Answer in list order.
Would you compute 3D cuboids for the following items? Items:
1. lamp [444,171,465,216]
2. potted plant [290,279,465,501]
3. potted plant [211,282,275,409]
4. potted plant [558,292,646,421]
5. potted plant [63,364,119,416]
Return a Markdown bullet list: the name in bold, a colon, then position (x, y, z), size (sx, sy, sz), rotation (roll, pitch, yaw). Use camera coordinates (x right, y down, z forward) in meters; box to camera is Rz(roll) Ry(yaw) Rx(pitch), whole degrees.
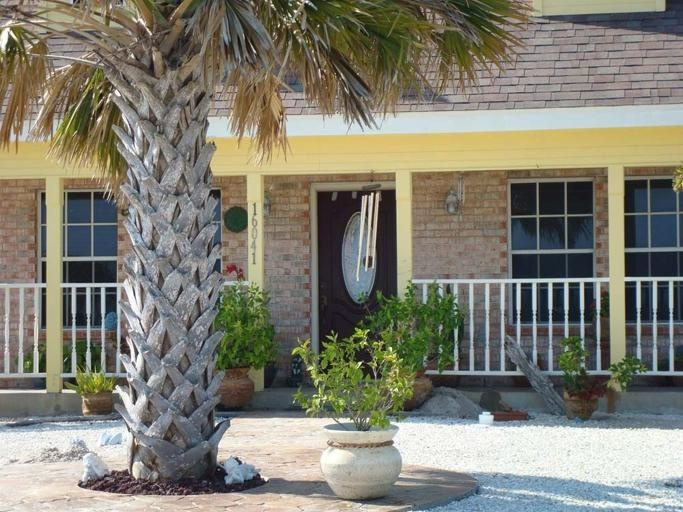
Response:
- **lamp**: position (1.683, -0.892, 17.516), size (0.273, 0.586, 0.360), rotation (-1, -3, 2)
- **potted plant**: position (0.544, 1.515, 13.927), size (1.904, 3.017, 2.403), rotation (0, 0, 40)
- **potted plant**: position (-1.324, 1.264, 16.423), size (0.807, 1.772, 1.128), rotation (-1, -3, -4)
- **potted plant**: position (3.417, 1.653, 15.991), size (1.138, 1.104, 1.069), rotation (-1, -3, -14)
- **potted plant**: position (-3.451, 1.873, 16.305), size (0.568, 0.710, 0.674), rotation (0, -8, -1)
